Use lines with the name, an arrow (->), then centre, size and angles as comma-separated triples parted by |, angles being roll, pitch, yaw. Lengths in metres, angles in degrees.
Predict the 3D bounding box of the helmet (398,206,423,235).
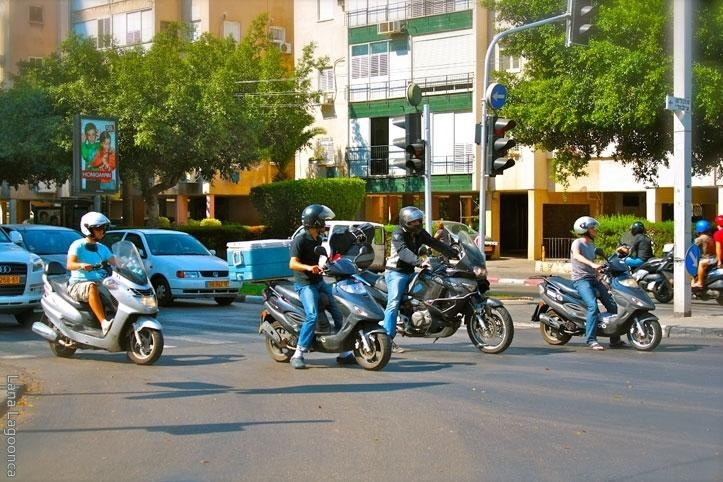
helmet -> 0.862, -0.368, 14.140 | 0.356, 0.407, 0.445 | -4, -1, -40

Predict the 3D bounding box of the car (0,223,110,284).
car -> -7.765, 0.014, 20.071 | 1.557, 1.272, 2.769 | 1, -3, -33

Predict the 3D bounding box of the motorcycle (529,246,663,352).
motorcycle -> 4.289, 1.176, 15.173 | 2.527, 1.606, 0.841 | -1, -6, 43

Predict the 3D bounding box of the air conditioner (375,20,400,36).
air conditioner -> 1.432, -11.315, 43.996 | 1.295, 0.655, 0.626 | 1, 0, 35

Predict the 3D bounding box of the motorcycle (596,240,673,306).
motorcycle -> 7.138, 0.784, 21.348 | 2.179, 1.358, 0.920 | 6, -4, -12

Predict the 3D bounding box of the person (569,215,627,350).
person -> 4.174, 0.782, 14.844 | 0.763, 2.356, 0.534 | 2, 6, 15

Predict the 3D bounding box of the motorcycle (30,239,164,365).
motorcycle -> -4.390, 1.052, 13.928 | 2.828, 1.911, 1.130 | 1, -3, 30

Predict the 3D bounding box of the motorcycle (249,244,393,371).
motorcycle -> -0.638, 1.180, 13.528 | 2.649, 1.784, 0.974 | -1, -5, 35

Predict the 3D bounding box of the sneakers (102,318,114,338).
sneakers -> -4.121, 1.420, 13.360 | 0.157, 0.122, 0.359 | 13, -39, -15

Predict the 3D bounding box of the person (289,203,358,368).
person -> -0.741, 0.765, 13.098 | 0.773, 2.615, 0.668 | 0, 6, -5

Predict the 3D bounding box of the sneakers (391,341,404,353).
sneakers -> 0.642, 1.898, 14.650 | 0.132, 0.154, 0.388 | -1, -3, -23

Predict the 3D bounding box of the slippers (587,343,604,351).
slippers -> 4.216, 1.915, 14.799 | 0.132, 0.091, 0.226 | 0, -6, -12

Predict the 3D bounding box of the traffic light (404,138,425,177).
traffic light -> 1.286, -1.940, 19.517 | 0.485, 0.799, 0.430 | 0, 6, 2

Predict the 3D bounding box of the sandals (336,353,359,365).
sandals -> -0.234, 1.973, 13.710 | 0.357, 0.168, 0.140 | -2, 3, -7

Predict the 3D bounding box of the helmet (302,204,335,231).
helmet -> -0.686, -0.353, 13.144 | 0.475, 0.361, 0.360 | -3, 4, -6
